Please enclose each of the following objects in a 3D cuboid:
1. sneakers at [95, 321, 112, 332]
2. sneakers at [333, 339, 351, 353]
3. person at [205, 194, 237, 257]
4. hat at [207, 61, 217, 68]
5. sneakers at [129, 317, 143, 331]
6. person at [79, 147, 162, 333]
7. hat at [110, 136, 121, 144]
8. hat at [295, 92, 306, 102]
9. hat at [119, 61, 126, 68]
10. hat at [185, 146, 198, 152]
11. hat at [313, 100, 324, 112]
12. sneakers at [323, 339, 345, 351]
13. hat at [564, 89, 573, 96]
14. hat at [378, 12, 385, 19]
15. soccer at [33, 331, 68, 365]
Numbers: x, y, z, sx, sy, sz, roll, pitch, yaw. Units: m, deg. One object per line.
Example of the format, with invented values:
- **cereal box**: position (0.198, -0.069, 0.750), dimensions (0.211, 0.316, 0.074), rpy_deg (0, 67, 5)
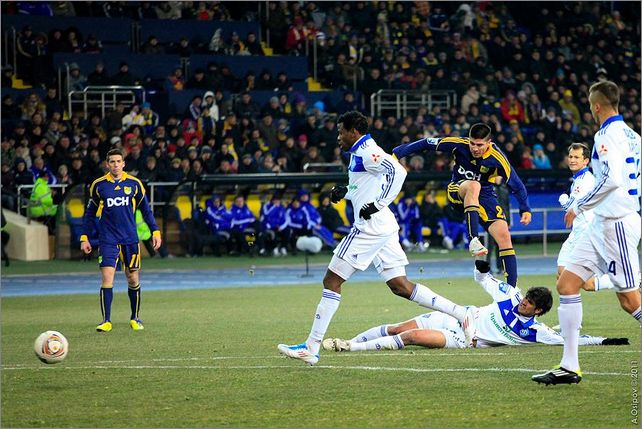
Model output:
- **sneakers**: position (-4.161, 2.162, 19.915), dimensions (0.263, 0.187, 0.163), rpy_deg (3, -3, 15)
- **sneakers**: position (0.345, 2.341, 18.424), dimensions (0.185, 0.115, 0.252), rpy_deg (5, -6, 35)
- **person**: position (-2.891, 0.312, 29.416), dimensions (0.818, 1.632, 0.253), rpy_deg (-1, 2, -5)
- **hat**: position (-3.367, -4.671, 32.639), dimensions (0.193, 0.243, 0.460), rpy_deg (0, 2, 27)
- **sneakers**: position (-3.522, 2.117, 19.938), dimensions (0.237, 0.207, 0.329), rpy_deg (-1, 2, -10)
- **person**: position (-3.903, 0.485, 20.124), dimensions (1.421, 3.485, 0.871), rpy_deg (-1, 2, -13)
- **hat**: position (-5.782, -2.093, 29.334), dimensions (0.235, 0.173, 0.239), rpy_deg (-2, 1, 2)
- **hat**: position (-0.682, -3.691, 32.712), dimensions (0.336, 0.283, 0.397), rpy_deg (-1, 2, 0)
- **hat**: position (-6.041, -4.588, 31.843), dimensions (0.174, 0.148, 0.188), rpy_deg (1, 7, -20)
- **hat**: position (-3.706, -1.896, 29.920), dimensions (0.271, 0.170, 0.397), rpy_deg (-1, 2, -10)
- **hat**: position (-0.053, -3.445, 32.952), dimensions (0.338, 0.367, 0.390), rpy_deg (3, 9, 1)
- **sneakers**: position (0.240, 2.316, 18.423), dimensions (0.333, 0.191, 0.146), rpy_deg (8, -16, 12)
- **hat**: position (8.365, -4.146, 35.202), dimensions (0.267, 0.255, 0.270), rpy_deg (2, 0, -2)
- **hat**: position (2.080, -6.859, 35.829), dimensions (0.256, 0.189, 0.256), rpy_deg (-2, -3, 3)
- **soccer**: position (-4.638, 2.290, 18.070), dimensions (0.558, 0.568, 0.537), rpy_deg (2, 8, -2)
